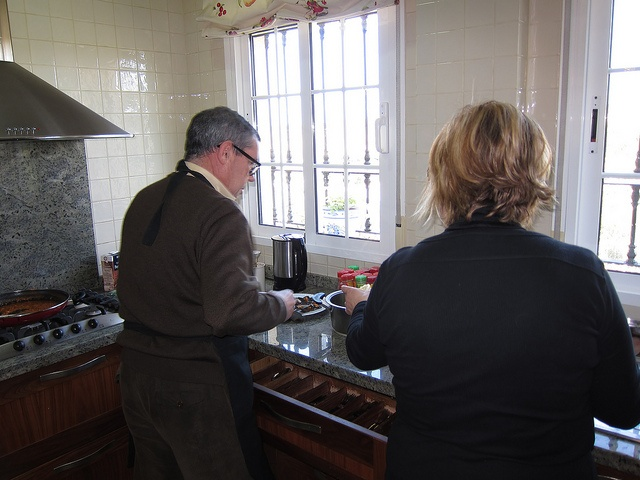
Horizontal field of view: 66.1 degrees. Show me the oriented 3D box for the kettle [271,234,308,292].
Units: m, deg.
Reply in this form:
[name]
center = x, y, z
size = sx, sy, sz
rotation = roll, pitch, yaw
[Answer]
[kettle]
center = -0.161, 0.126, 2.736
size = 0.142, 0.324, 0.170
rotation = -10, 22, -41
